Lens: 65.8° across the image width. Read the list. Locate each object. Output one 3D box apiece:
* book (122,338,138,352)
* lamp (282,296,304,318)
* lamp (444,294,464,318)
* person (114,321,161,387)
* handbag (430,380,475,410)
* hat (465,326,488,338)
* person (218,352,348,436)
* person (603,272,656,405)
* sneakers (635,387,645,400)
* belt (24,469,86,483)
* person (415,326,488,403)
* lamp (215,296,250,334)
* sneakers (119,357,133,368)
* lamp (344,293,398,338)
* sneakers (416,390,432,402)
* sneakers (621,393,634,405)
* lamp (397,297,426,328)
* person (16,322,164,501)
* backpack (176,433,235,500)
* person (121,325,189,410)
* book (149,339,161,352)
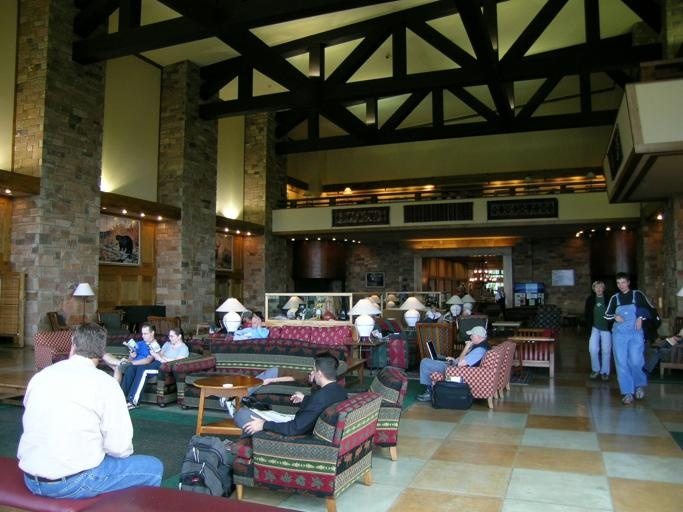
[{"bbox_3d":[-3.013,1.277,7.512,0.140,0.217,0.211,-37,20,-27],"label":"book"},{"bbox_3d":[-0.863,0.948,9.698,0.390,0.414,0.388,1,-5,-1],"label":"lamp"},{"bbox_3d":[2.962,1.308,13.743,0.639,0.662,0.632,9,-10,-43],"label":"lamp"},{"bbox_3d":[-2.821,1.407,7.305,0.510,0.929,0.392,-10,28,-38],"label":"person"},{"bbox_3d":[1.403,1.787,6.717,0.553,0.387,0.322,0,4,14],"label":"handbag"},{"bbox_3d":[1.788,1.012,6.972,0.282,0.139,0.202,4,-2,16],"label":"hat"},{"bbox_3d":[-0.495,1.235,4.810,0.894,0.746,1.532,1,-5,-17],"label":"person"},{"bbox_3d":[3.862,1.082,7.018,0.507,1.687,0.702,-1,-5,15],"label":"person"},{"bbox_3d":[4.023,1.868,7.162,0.124,0.151,0.227,-8,-10,36],"label":"sneakers"},{"bbox_3d":[-1.874,1.438,3.418,0.404,0.062,0.068,0,-5,1],"label":"belt"},{"bbox_3d":[1.481,1.446,7.116,0.881,1.053,0.513,7,3,8],"label":"person"},{"bbox_3d":[-1.821,1.057,9.264,0.633,0.624,0.624,6,-9,-37],"label":"lamp"},{"bbox_3d":[-2.935,1.453,7.138,0.145,0.068,0.189,3,-2,-17],"label":"sneakers"},{"bbox_3d":[0.476,1.096,9.284,0.782,0.732,0.787,-4,1,25],"label":"lamp"},{"bbox_3d":[1.100,1.919,7.170,0.091,0.112,0.263,3,-4,-31],"label":"sneakers"},{"bbox_3d":[3.739,1.875,6.889,0.099,0.113,0.274,-5,-12,30],"label":"sneakers"},{"bbox_3d":[1.536,1.243,11.409,0.632,0.632,0.634,-2,-10,15],"label":"lamp"},{"bbox_3d":[-2.037,1.303,4.418,1.203,1.382,0.948,9,12,8],"label":"person"},{"bbox_3d":[-1.077,1.710,4.387,0.413,0.556,0.546,3,-6,0],"label":"backpack"},{"bbox_3d":[-2.562,1.572,7.253,0.948,0.891,1.061,0,-7,20],"label":"person"},{"bbox_3d":[-2.535,1.227,7.207,0.186,0.240,0.136,-2,-9,-10],"label":"book"}]
